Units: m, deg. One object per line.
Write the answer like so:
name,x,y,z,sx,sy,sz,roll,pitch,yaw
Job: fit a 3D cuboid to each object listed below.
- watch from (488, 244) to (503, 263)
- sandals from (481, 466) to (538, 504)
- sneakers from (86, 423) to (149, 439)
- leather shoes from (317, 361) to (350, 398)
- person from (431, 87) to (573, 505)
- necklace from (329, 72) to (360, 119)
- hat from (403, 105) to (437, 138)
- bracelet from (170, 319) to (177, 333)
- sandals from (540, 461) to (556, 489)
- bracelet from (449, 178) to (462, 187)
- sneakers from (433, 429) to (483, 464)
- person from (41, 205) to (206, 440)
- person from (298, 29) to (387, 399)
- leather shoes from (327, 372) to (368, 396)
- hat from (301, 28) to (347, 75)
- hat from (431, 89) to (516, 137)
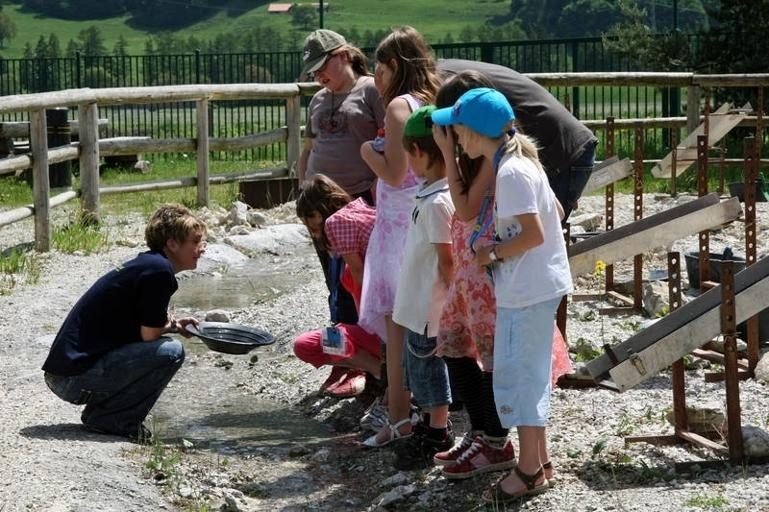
watch,0.643,-0.024,6.003,0.057,0.101,0.076,-3,17,18
sandals,0.733,1.343,6.086,0.346,0.168,0.163,-3,4,-13
sneakers,-1.781,1.164,6.790,0.281,0.073,0.167,9,2,-18
leather shoes,-0.399,0.891,7.499,0.337,0.133,0.112,-48,24,-3
person,0.767,0.223,6.040,0.648,2.404,0.414,-1,10,4
necklace,-0.289,-1.190,7.793,0.128,0.332,0.239,27,-21,-39
hat,0.199,-0.840,6.369,0.209,0.112,0.144,-6,23,30
bracelet,-1.451,0.476,6.904,0.040,0.064,0.071,0,20,-11
sandals,0.984,1.310,6.174,0.063,0.070,0.176,-2,14,6
bracelet,0.411,-0.447,6.125,0.051,0.039,0.051,-2,12,-16
sneakers,0.464,1.215,6.386,0.373,0.168,0.122,-6,-6,32
person,-1.843,0.409,7.079,1.001,1.612,1.062,7,3,8
person,-0.415,-0.475,8.048,0.779,2.435,0.836,-7,17,-27
leather shoes,-0.293,0.914,7.402,0.273,0.116,0.146,-2,3,-40
hat,-0.474,-1.535,7.650,0.340,0.329,0.284,-2,10,-4
hat,0.512,-0.898,6.142,0.490,0.257,0.318,18,30,17
